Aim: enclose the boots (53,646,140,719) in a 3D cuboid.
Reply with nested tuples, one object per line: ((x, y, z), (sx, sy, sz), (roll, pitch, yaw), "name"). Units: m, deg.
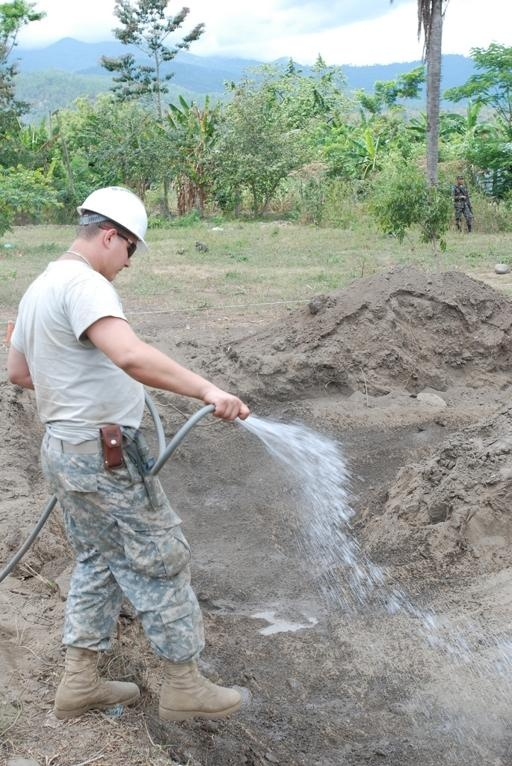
((-0.599, 1.116, 2.862), (0.351, 0.228, 0.122), (8, -10, -38), "boots")

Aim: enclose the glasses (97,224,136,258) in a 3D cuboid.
((-0.510, -0.511, 2.750), (0.113, 0.031, 0.111), (24, 5, 33), "glasses")

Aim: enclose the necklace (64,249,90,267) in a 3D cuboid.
((-0.647, -0.441, 2.687), (0.132, 0.055, 0.073), (8, 16, 41), "necklace")

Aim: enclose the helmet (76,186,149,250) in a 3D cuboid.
((-0.501, -0.603, 2.766), (0.250, 0.141, 0.192), (24, -4, -21), "helmet")

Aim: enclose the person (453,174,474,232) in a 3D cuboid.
((5.283, -4.557, 19.565), (0.461, 1.375, 2.201), (1, 13, 16), "person")

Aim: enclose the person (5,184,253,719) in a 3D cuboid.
((-0.432, 0.313, 2.770), (0.812, 2.020, 0.505), (-4, 14, -1), "person")
